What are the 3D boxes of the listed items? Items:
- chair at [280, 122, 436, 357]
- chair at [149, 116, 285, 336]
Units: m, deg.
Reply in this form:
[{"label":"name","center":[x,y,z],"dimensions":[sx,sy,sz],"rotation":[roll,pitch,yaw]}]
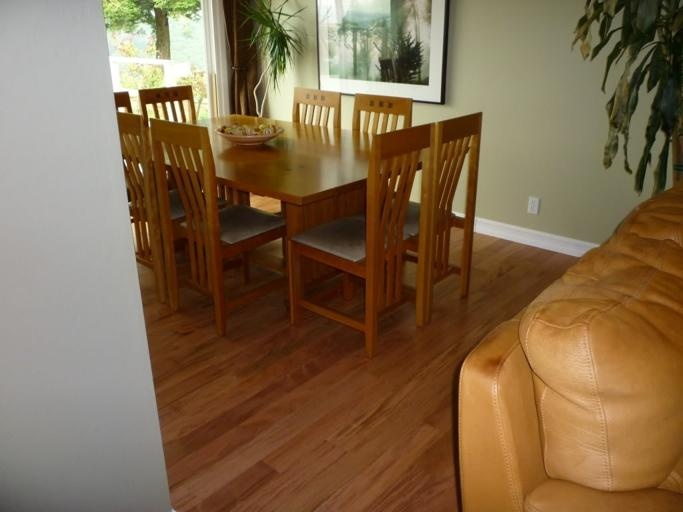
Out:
[{"label":"chair","center":[0.110,-0.127,2.799],"dimensions":[0.605,1.065,0.521],"rotation":[12,25,32]},{"label":"chair","center":[-0.657,-0.209,2.951],"dimensions":[0.591,1.066,0.527],"rotation":[17,28,40]}]
